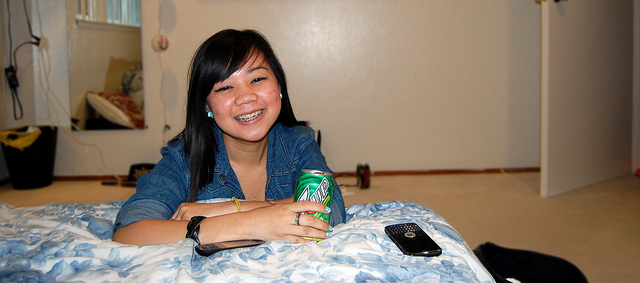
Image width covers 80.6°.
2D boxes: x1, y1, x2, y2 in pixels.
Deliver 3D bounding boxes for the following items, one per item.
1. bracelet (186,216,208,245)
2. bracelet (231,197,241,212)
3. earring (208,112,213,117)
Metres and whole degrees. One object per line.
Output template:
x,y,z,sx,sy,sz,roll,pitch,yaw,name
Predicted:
-1.064,0.765,3.279,0.111,0.196,0.159,3,13,-5,bracelet
-0.750,0.564,3.398,0.029,0.116,0.085,-43,-12,-19,bracelet
-1.035,-0.261,3.550,0.043,0.044,0.007,5,18,16,earring
